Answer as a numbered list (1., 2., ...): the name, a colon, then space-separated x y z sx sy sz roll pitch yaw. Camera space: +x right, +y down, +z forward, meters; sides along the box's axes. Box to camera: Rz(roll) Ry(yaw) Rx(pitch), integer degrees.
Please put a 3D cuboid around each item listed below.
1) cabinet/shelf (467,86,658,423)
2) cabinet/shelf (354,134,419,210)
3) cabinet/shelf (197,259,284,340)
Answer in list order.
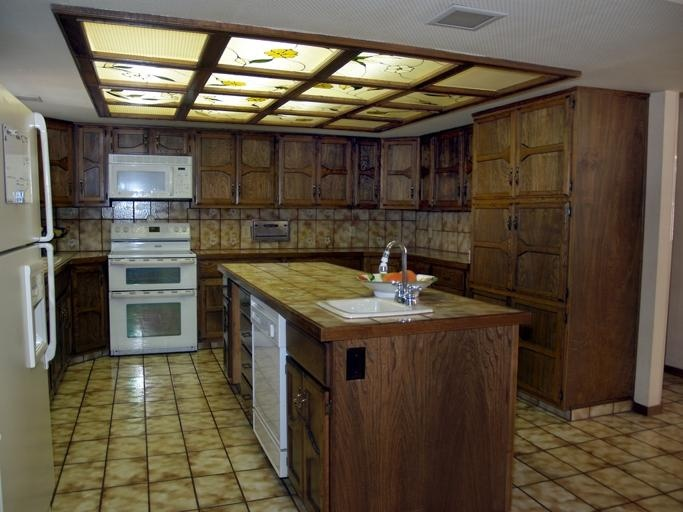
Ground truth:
1. cabinet/shelf: 1.771 -0.054 4.106 1.348 2.525 0.699 6 10 30
2. cabinet/shelf: 0.576 -1.076 6.168 0.938 1.004 0.513 -2 5 -22
3. cabinet/shelf: -1.186 0.426 5.470 0.913 1.251 0.738 0 4 -19
